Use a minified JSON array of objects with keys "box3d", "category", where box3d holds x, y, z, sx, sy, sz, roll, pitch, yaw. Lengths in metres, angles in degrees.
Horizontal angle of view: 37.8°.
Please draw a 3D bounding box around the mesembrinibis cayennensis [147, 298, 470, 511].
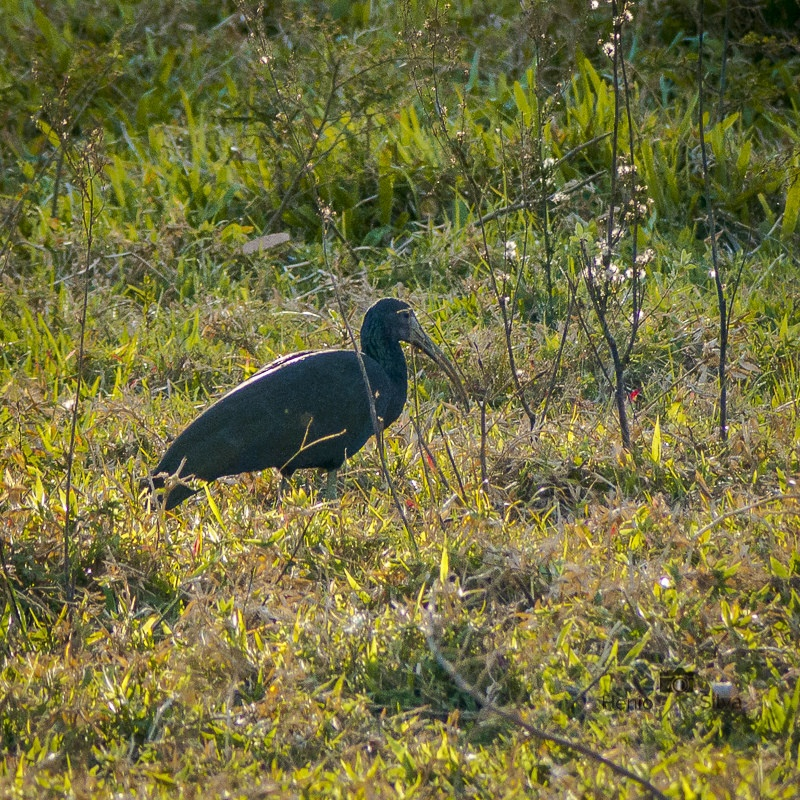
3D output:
[{"box3d":[-0.341,0.049,4.615,1.205,0.957,0.465,-3,0,-21],"category":"mesembrinibis cayennensis"}]
